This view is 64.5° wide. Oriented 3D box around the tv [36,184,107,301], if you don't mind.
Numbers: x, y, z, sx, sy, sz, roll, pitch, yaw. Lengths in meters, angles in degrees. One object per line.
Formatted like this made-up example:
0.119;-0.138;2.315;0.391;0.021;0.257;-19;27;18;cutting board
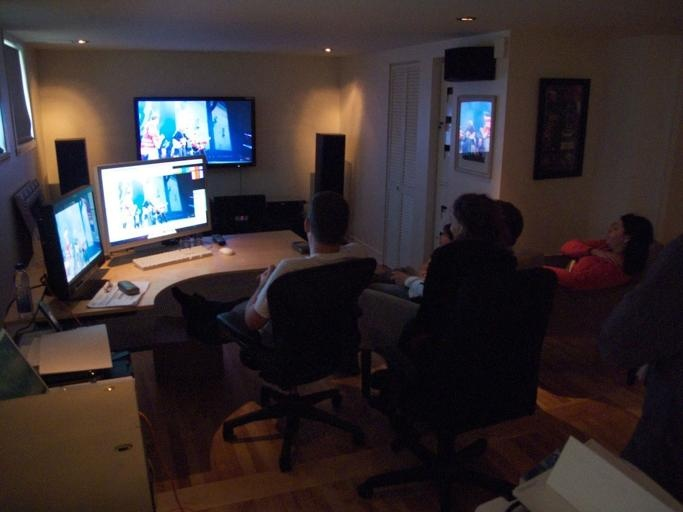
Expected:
-1.470;-0.049;2.952;0.205;0.459;0.517;1;23;-5;tv

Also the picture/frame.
1.761;-1.047;4.361;0.675;0.833;0.055;-13;21;-32;picture/frame

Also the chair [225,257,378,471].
-0.210;0.628;2.977;0.695;1.113;0.692;-11;32;-30;chair

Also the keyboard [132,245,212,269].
-1.102;0.011;3.544;0.348;0.038;0.180;-14;24;-41;keyboard

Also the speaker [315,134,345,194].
-0.142;-1.090;6.434;0.355;0.704;0.390;-3;17;-5;speaker

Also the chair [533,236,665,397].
1.760;0.338;4.276;1.018;1.355;0.985;2;11;9;chair

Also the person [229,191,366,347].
-0.251;0.035;2.888;0.623;0.751;0.625;-16;22;-38;person
